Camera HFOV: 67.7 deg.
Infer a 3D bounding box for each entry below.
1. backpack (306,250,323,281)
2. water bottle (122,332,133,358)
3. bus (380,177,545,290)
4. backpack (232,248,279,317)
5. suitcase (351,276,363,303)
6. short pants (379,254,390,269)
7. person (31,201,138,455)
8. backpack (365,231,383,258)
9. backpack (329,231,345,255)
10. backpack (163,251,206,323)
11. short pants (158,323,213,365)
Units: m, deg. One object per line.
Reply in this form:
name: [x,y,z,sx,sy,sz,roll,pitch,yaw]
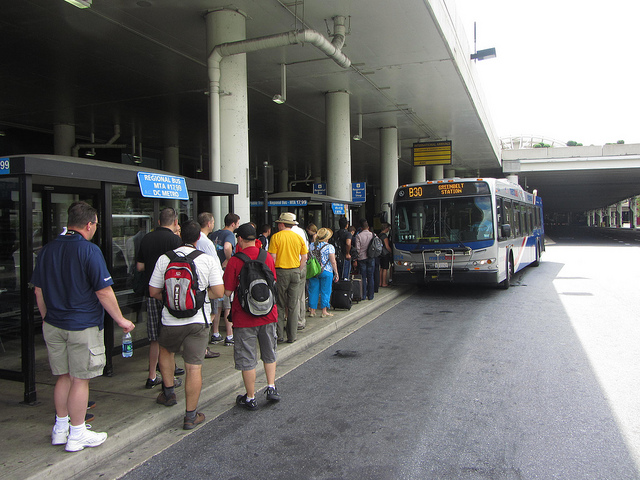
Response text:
backpack: [-0.118,0.495,9.772,0.484,0.516,0.194,-26,15,-39]
water bottle: [-2.458,1.332,6.077,0.093,0.294,0.473,-5,2,-24]
bus: [6.597,-0.356,18.401,3.840,3.745,12.938,-2,3,35]
backpack: [-0.785,0.551,5.892,0.496,0.822,0.419,-6,4,-32]
suitcase: [0.929,1.262,11.944,0.256,0.669,0.387,-4,2,0]
short pants: [1.949,0.657,14.443,0.311,0.619,0.408,0,5,5]
person: [-2.471,0.869,4.877,0.826,2.429,0.523,-5,3,-22]
backpack: [1.411,0.205,12.464,0.479,0.540,0.359,5,-2,34]
backpack: [0.500,0.065,12.429,0.484,0.586,0.386,-2,0,12]
backpack: [-1.563,0.509,5.433,0.462,0.785,0.430,2,3,2]
short pants: [-1.544,1.115,5.555,0.653,0.605,0.405,1,-5,-3]
